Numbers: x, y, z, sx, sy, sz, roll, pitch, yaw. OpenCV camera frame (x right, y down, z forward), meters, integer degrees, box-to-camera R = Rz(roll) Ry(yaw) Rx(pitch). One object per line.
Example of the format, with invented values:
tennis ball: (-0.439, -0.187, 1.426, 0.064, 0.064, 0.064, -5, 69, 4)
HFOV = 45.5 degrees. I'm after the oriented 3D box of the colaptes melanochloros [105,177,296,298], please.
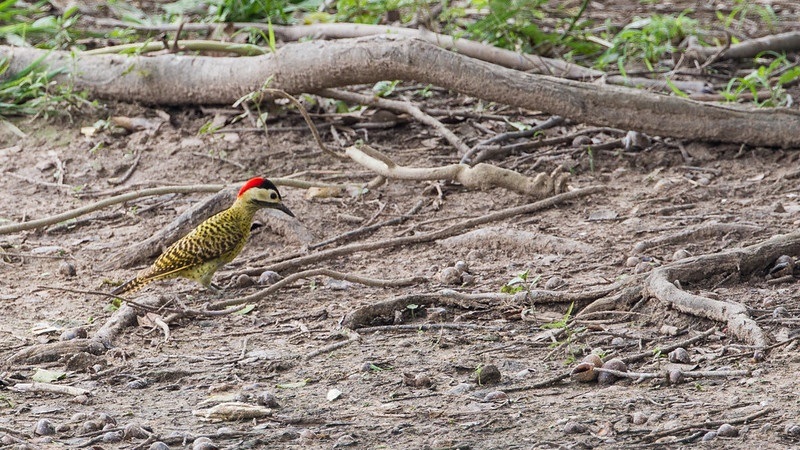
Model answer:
colaptes melanochloros: (-1.753, 0.198, 8.797, 1.640, 0.626, 0.493, -35, 57, -23)
